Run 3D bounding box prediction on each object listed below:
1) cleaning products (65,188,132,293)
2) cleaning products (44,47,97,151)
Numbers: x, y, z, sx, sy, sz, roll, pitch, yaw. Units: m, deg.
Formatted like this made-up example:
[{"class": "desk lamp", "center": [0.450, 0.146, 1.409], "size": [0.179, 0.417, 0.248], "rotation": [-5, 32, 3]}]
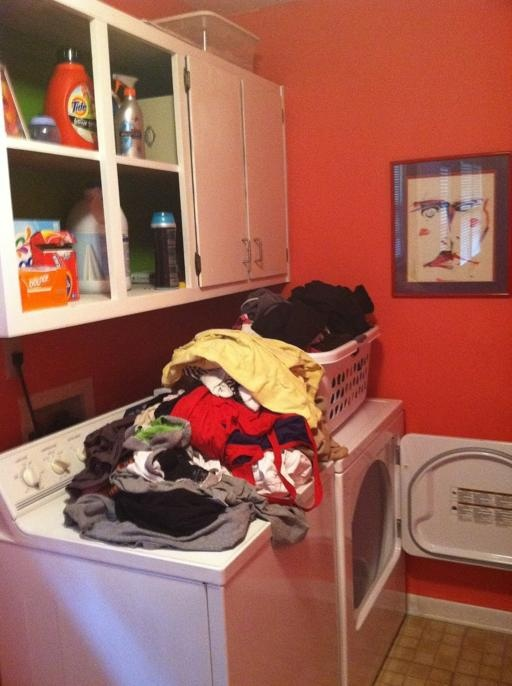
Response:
[{"class": "cleaning products", "center": [-0.372, -0.224, 1.250], "size": [0.076, 0.229, 0.090], "rotation": [-6, 14, -17]}, {"class": "cleaning products", "center": [-0.386, -0.502, 1.161], "size": [0.080, 0.200, 0.102], "rotation": [11, 19, 44]}]
